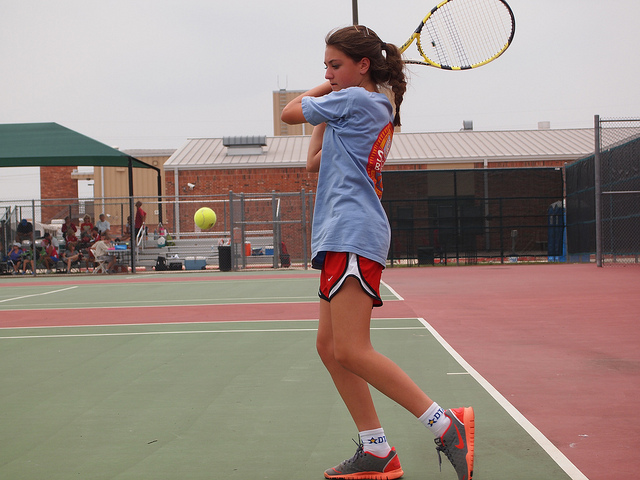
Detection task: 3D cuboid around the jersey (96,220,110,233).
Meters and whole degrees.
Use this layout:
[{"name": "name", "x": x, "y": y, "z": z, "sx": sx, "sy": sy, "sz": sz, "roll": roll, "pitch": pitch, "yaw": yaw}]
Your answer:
[{"name": "jersey", "x": -6.334, "y": -0.418, "z": 23.778, "sx": 0.426, "sy": 0.449, "sz": 0.209, "roll": 1, "pitch": -14, "yaw": -6}]

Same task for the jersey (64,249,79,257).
[{"name": "jersey", "x": -6.846, "y": 0.334, "z": 22.425, "sx": 0.316, "sy": 0.167, "sz": 0.287, "roll": 0, "pitch": 26, "yaw": -5}]

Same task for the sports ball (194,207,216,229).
[{"name": "sports ball", "x": -3.301, "y": -0.693, "z": 23.995, "sx": 0.602, "sy": 0.589, "sz": 0.599, "roll": 7, "pitch": -35, "yaw": 5}]

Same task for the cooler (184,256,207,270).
[{"name": "cooler", "x": -3.645, "y": 0.634, "z": 23.844, "sx": 0.600, "sy": 0.289, "sz": 0.341, "roll": -1, "pitch": 0, "yaw": -10}]

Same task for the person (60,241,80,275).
[{"name": "person", "x": -6.840, "y": 0.435, "z": 22.338, "sx": 0.481, "sy": 0.613, "sz": 0.949, "roll": -1, "pitch": 0, "yaw": -18}]

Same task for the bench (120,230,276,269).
[{"name": "bench", "x": -3.564, "y": 0.244, "z": 23.604, "sx": 4.262, "sy": 0.853, "sz": 2.110, "roll": -2, "pitch": -1, "yaw": 39}]

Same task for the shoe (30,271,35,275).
[{"name": "shoe", "x": -7.785, "y": 0.850, "z": 22.029, "sx": 0.078, "sy": 0.093, "sz": 0.987, "roll": -1, "pitch": 0, "yaw": -22}]

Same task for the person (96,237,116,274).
[{"name": "person", "x": -5.763, "y": 0.384, "z": 21.933, "sx": 0.389, "sy": 0.678, "sz": 1.077, "roll": -1, "pitch": 0, "yaw": -4}]

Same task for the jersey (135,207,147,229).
[{"name": "jersey", "x": -5.323, "y": -0.682, "z": 24.054, "sx": 0.260, "sy": 0.430, "sz": 0.589, "roll": -1, "pitch": 0, "yaw": -18}]

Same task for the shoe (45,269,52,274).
[{"name": "shoe", "x": -7.709, "y": 0.846, "z": 23.130, "sx": 0.182, "sy": 0.079, "sz": 1.925, "roll": -1, "pitch": -1, "yaw": -19}]

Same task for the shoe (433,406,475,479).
[{"name": "shoe", "x": 0.854, "y": 1.218, "z": 5.165, "sx": 0.225, "sy": 0.498, "sz": 0.170, "roll": -6, "pitch": -4, "yaw": -4}]

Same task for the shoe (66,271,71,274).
[{"name": "shoe", "x": -6.776, "y": 0.834, "z": 21.969, "sx": 0.064, "sy": 0.056, "sz": 0.093, "roll": -1, "pitch": 42, "yaw": -4}]

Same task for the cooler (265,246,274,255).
[{"name": "cooler", "x": -1.441, "y": 0.266, "z": 23.049, "sx": 0.253, "sy": 0.234, "sz": 0.151, "roll": -2, "pitch": -20, "yaw": 1}]
